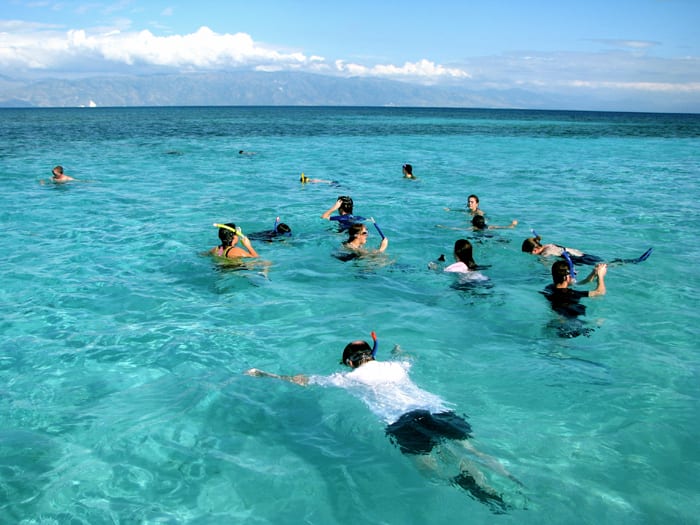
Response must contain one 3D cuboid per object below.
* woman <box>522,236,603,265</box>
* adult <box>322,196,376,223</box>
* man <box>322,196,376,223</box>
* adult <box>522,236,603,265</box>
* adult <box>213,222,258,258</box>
[{"bbox_3d":[5.931,-0.305,17.050,1.784,0.397,1.000,10,4,9],"label":"woman"},{"bbox_3d":[-0.186,-1.821,20.307,1.130,0.927,1.380,-11,22,-24],"label":"adult"},{"bbox_3d":[-0.198,-1.822,20.313,1.116,0.927,1.401,-11,22,-24],"label":"man"},{"bbox_3d":[5.892,-0.311,17.076,1.784,0.397,1.000,10,4,9],"label":"adult"},{"bbox_3d":[-3.329,-0.611,17.105,1.513,0.721,0.710,12,28,29],"label":"adult"}]
